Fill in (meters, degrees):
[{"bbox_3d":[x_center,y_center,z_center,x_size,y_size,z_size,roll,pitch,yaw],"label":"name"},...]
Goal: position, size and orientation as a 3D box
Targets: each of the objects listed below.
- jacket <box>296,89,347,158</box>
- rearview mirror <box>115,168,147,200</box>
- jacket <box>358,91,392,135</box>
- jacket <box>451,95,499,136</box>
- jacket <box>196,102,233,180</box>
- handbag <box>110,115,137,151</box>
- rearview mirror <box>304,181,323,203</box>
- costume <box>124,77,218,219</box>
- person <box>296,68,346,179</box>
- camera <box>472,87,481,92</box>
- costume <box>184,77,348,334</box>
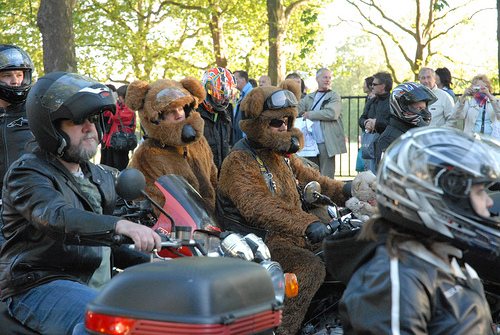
[{"bbox_3d":[1.191,-0.672,11.002,0.728,1.230,0.992,0,0,-6],"label":"jacket"},{"bbox_3d":[-0.832,0.112,4.998,0.219,0.224,0.201,-28,6,-18],"label":"rearview mirror"},{"bbox_3d":[1.799,-0.697,9.875,0.537,0.622,0.352,4,-2,38],"label":"jacket"},{"bbox_3d":[3.164,-0.745,9.904,0.727,0.498,0.257,6,11,38],"label":"jacket"},{"bbox_3d":[-0.453,-0.472,8.951,0.337,0.936,0.653,17,-34,-29],"label":"jacket"},{"bbox_3d":[-1.911,-0.433,10.563,0.340,0.563,0.261,26,-8,33],"label":"handbag"},{"bbox_3d":[0.606,0.198,6.228,0.146,0.224,0.221,2,6,42],"label":"rearview mirror"},{"bbox_3d":[-0.747,-0.073,6.979,0.771,1.602,0.918,-1,10,37],"label":"costume"},{"bbox_3d":[1.081,-0.537,10.968,0.813,1.900,0.767,4,11,21],"label":"person"},{"bbox_3d":[3.145,-1.083,9.754,0.070,0.055,0.092,6,-2,13],"label":"camera"},{"bbox_3d":[0.249,0.319,6.542,1.151,2.100,1.628,0,8,6],"label":"costume"}]
